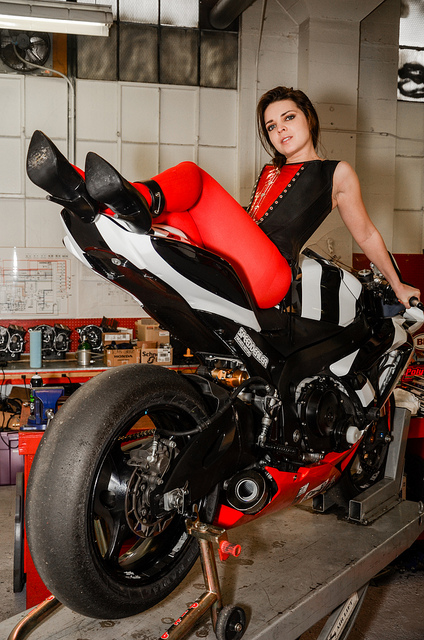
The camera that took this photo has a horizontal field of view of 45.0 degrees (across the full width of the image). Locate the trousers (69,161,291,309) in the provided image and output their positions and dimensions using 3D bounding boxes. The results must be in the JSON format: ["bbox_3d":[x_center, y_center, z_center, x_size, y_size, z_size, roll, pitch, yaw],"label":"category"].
[{"bbox_3d":[-0.035,-0.217,1.170,0.637,0.200,0.168,16,2,-33],"label":"trousers"}]

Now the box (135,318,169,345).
[{"bbox_3d":[-0.538,0.105,4.503,0.294,0.180,0.292,3,-3,-17],"label":"box"}]

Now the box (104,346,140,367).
[{"bbox_3d":[-0.723,0.296,4.122,0.237,0.121,0.237,1,5,-15],"label":"box"}]
